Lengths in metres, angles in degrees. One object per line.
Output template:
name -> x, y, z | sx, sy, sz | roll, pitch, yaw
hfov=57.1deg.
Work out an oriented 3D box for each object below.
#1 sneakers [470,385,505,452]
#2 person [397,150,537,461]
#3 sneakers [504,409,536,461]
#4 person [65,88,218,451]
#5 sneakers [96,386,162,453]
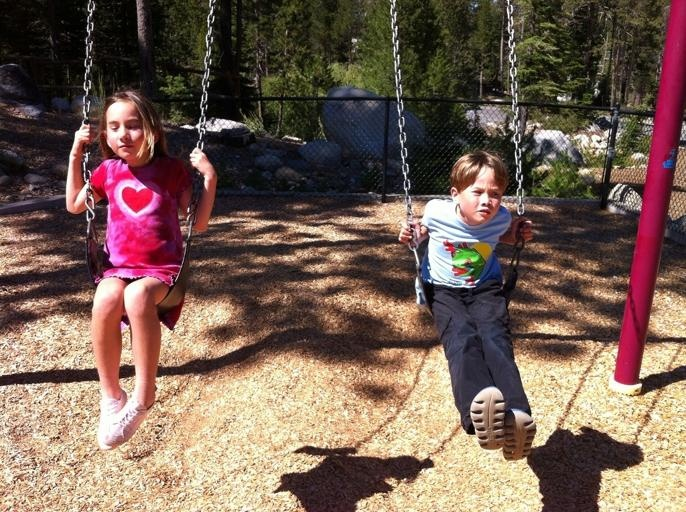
sneakers -> 0.761, 0.833, 3.270 | 0.170, 0.314, 0.113 | -2, 17, 13
person -> 0.753, 0.141, 3.629 | 0.821, 0.684, 1.793 | 1, 47, -2
sneakers -> 0.913, 0.960, 3.264 | 0.161, 0.289, 0.101 | 6, 30, 8
person -> -1.128, 0.053, 3.570 | 0.573, 1.869, 0.788 | -3, 17, -15
sneakers -> -1.214, 0.909, 3.473 | 0.241, 0.324, 0.243 | -14, 23, -42
